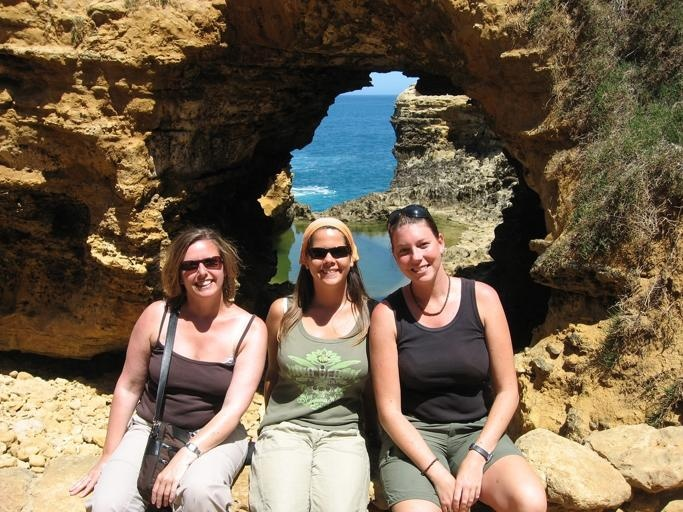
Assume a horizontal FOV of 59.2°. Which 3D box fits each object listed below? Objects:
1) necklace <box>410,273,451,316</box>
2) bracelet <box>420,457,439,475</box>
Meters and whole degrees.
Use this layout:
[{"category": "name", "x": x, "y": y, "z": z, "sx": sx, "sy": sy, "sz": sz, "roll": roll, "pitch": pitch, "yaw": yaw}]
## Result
[{"category": "necklace", "x": 0.617, "y": 0.292, "z": 4.409, "sx": 0.236, "sy": 0.313, "sz": 0.076, "roll": -5, "pitch": 1, "yaw": 7}, {"category": "bracelet", "x": 0.596, "y": 1.424, "z": 4.088, "sx": 0.113, "sy": 0.029, "sz": 0.097, "roll": -39, "pitch": 0, "yaw": -4}]
